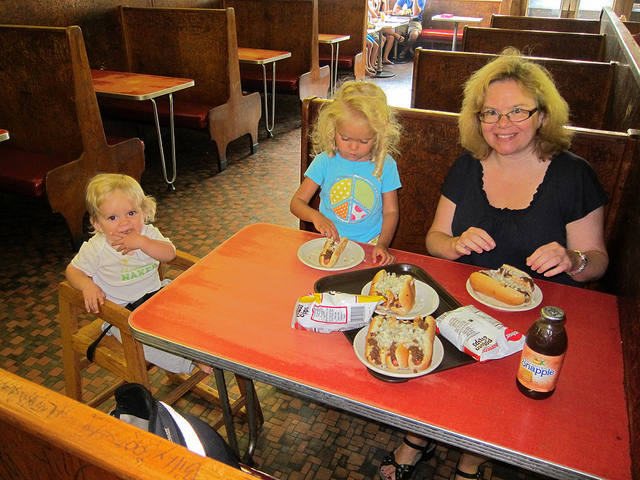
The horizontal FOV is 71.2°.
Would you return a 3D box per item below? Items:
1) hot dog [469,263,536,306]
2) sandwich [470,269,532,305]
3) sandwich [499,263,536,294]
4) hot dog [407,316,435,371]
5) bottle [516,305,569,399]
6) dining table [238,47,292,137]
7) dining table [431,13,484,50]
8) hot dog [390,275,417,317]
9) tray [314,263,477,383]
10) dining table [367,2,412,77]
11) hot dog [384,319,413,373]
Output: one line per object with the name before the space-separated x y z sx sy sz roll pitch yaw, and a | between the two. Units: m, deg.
hot dog | 0.595 0.141 1.462 0.143 0.053 0.143 23 41 40
sandwich | 0.582 0.146 1.460 0.174 0.068 0.086 23 55 33
sandwich | 0.645 0.145 1.511 0.115 0.037 0.115 27 36 23
hot dog | 0.276 0.282 1.222 0.064 0.042 0.134 0 43 23
bottle | 0.588 0.282 1.122 0.148 0.236 0.092 0 29 -3
dining table | -0.649 -1.861 5.627 0.652 1.000 1.779 -2 29 -7
dining table | 2.667 -4.132 8.987 0.798 0.668 2.037 8 29 11
hot dog | 0.262 0.178 1.447 0.071 0.046 0.129 2 44 11
tray | 0.250 0.225 1.416 0.418 0.052 0.530 -10 30 -21
dining table | 1.457 -4.205 9.391 1.224 1.103 2.241 4 45 9
hot dog | 0.209 0.284 1.200 0.063 0.043 0.122 3 44 11
